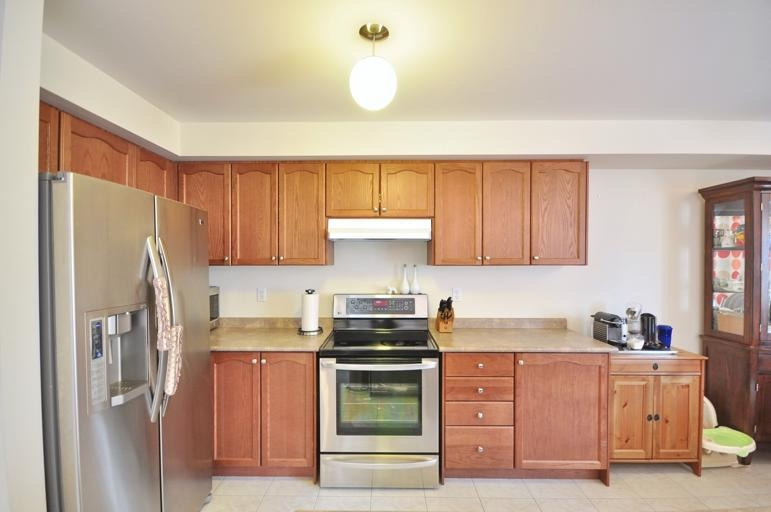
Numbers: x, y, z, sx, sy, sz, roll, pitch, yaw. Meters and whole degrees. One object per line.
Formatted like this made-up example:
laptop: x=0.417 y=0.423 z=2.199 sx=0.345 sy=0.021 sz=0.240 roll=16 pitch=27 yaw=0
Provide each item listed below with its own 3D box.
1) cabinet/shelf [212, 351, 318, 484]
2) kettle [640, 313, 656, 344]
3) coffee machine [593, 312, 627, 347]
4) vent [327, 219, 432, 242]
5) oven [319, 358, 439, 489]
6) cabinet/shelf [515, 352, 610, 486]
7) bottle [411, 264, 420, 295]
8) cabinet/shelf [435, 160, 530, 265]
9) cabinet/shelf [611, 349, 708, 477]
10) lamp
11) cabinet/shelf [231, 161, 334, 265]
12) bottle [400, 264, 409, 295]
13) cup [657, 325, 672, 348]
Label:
cabinet/shelf: x=-0.942 y=1.218 z=5.156 sx=1.094 sy=1.142 sz=0.505 roll=0 pitch=-4 yaw=-1
kettle: x=2.146 y=0.606 z=5.397 sx=0.121 sy=0.247 sz=0.083 roll=-1 pitch=-2 yaw=19
coffee machine: x=1.855 y=0.619 z=5.537 sx=0.304 sy=0.278 sz=0.243 roll=-1 pitch=-2 yaw=30
vent: x=-0.046 y=-0.231 z=5.452 sx=0.851 sy=0.168 sz=0.131 roll=0 pitch=-2 yaw=-7
oven: x=-0.051 y=1.226 z=5.512 sx=1.274 sy=1.166 sz=0.942 roll=0 pitch=-6 yaw=0
cabinet/shelf: x=1.303 y=1.303 z=5.382 sx=0.864 sy=0.995 sz=0.645 roll=4 pitch=-8 yaw=-19
bottle: x=0.255 y=0.199 z=5.741 sx=0.072 sy=0.256 sz=0.134 roll=0 pitch=-2 yaw=3
cabinet/shelf: x=0.885 y=-0.368 z=5.610 sx=0.868 sy=0.868 sz=0.346 roll=3 pitch=7 yaw=32
cabinet/shelf: x=2.290 y=1.352 z=5.355 sx=0.825 sy=0.956 sz=0.598 roll=-11 pitch=-31 yaw=44
lamp: x=-0.080 y=-1.241 z=4.453 sx=0.289 sy=0.542 sz=0.409 roll=0 pitch=-2 yaw=1
cabinet/shelf: x=-0.839 y=-0.390 z=5.485 sx=0.926 sy=0.929 sz=0.411 roll=0 pitch=-1 yaw=-1
bottle: x=0.167 y=0.199 z=5.731 sx=0.079 sy=0.256 sz=0.128 roll=0 pitch=-2 yaw=2
cup: x=2.278 y=0.665 z=5.420 sx=0.103 sy=0.180 sz=0.224 roll=-1 pitch=-2 yaw=19
